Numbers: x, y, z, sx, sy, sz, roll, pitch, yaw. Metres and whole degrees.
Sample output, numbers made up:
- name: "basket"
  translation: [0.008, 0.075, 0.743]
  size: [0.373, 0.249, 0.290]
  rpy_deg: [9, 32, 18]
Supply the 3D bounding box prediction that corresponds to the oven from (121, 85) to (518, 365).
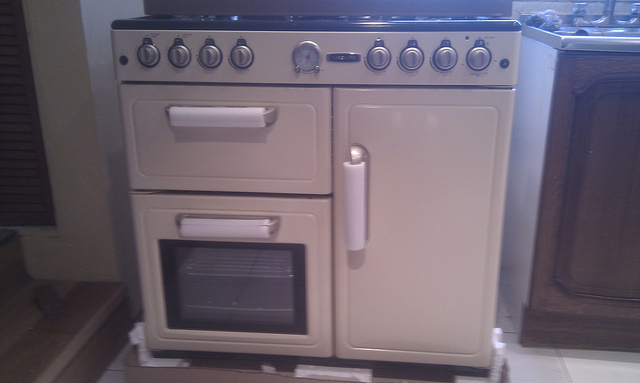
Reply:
- name: "oven"
  translation: [0.029, 0.112, 2.361]
  size: [1.583, 1.176, 0.859]
  rpy_deg: [-2, 1, 4]
